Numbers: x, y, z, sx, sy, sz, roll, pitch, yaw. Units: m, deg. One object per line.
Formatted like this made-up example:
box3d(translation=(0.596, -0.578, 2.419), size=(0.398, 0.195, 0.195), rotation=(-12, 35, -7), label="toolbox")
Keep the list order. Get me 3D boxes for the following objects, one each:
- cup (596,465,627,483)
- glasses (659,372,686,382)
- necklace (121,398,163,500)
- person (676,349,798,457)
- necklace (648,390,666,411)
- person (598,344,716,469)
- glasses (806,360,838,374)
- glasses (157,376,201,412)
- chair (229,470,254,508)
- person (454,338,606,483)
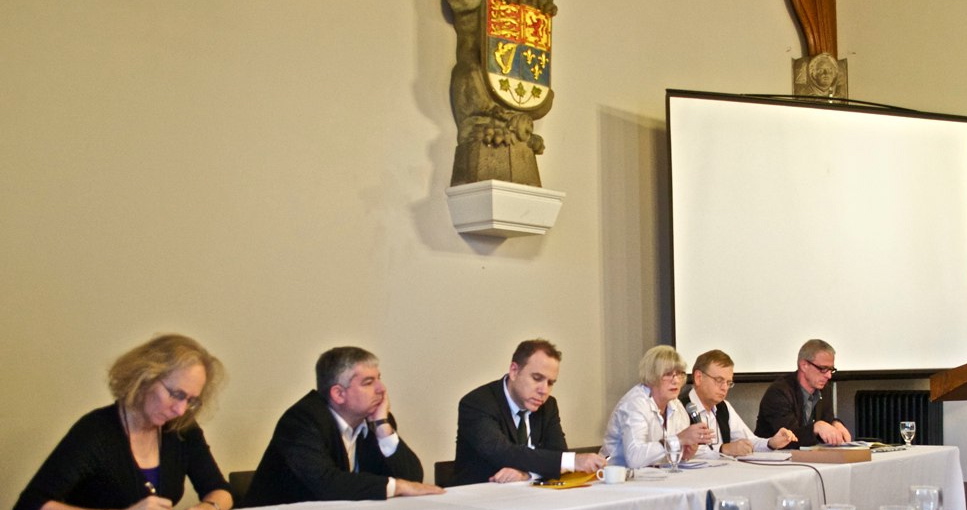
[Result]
box3d(translation=(0.926, 1.594, 7.729), size=(0.177, 0.089, 0.117), rotation=(-3, -11, 8), label="cup")
box3d(translation=(1.525, 0.985, 8.607), size=(0.220, 0.094, 0.087), rotation=(6, -17, -23), label="glasses")
box3d(translation=(-2.385, 1.362, 7.363), size=(0.379, 0.544, 0.132), rotation=(2, 4, 26), label="necklace")
box3d(translation=(2.050, 1.319, 8.953), size=(1.093, 0.925, 0.862), rotation=(3, -1, 8), label="person")
box3d(translation=(1.408, 1.178, 8.675), size=(0.123, 0.167, 0.142), rotation=(5, -5, -10), label="necklace")
box3d(translation=(1.352, 1.243, 8.500), size=(0.973, 1.290, 0.744), rotation=(-11, -12, 39), label="person")
box3d(translation=(2.940, 0.939, 9.299), size=(0.196, 0.063, 0.198), rotation=(8, 17, -41), label="glasses")
box3d(translation=(-2.096, 0.974, 7.326), size=(0.186, 0.101, 0.215), rotation=(25, 11, -49), label="glasses")
box3d(translation=(-1.835, 1.769, 7.991), size=(0.197, 0.281, 0.153), rotation=(9, -19, -33), label="chair")
box3d(translation=(0.197, 1.249, 8.088), size=(1.262, 1.104, 0.867), rotation=(-19, -28, 40), label="person")
